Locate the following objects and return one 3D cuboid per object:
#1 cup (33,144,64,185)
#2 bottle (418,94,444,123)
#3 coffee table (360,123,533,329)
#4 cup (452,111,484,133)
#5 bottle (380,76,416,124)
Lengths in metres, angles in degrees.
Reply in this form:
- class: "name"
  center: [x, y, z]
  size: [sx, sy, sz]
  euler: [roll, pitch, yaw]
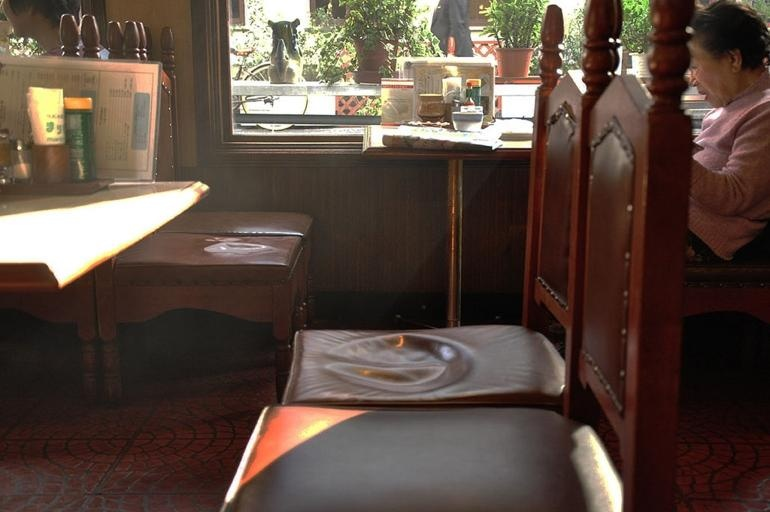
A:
- class: "cup"
  center: [-0.994, -0.273, 1.789]
  size: [0.110, 0.120, 0.106]
  euler: [8, 21, -3]
- class: "bottle"
  center: [0.218, -0.682, 2.708]
  size: [0.107, 0.095, 0.136]
  euler: [1, 22, 2]
- class: "coffee table"
  center: [0.247, -0.163, 2.726]
  size: [0.878, 0.835, 0.859]
  euler: [1, 12, 1]
- class: "cup"
  center: [0.367, -0.588, 2.566]
  size: [0.125, 0.074, 0.091]
  euler: [-2, 29, -3]
- class: "bottle"
  center: [0.069, -0.785, 2.950]
  size: [0.214, 0.283, 0.210]
  euler: [0, 24, 0]
